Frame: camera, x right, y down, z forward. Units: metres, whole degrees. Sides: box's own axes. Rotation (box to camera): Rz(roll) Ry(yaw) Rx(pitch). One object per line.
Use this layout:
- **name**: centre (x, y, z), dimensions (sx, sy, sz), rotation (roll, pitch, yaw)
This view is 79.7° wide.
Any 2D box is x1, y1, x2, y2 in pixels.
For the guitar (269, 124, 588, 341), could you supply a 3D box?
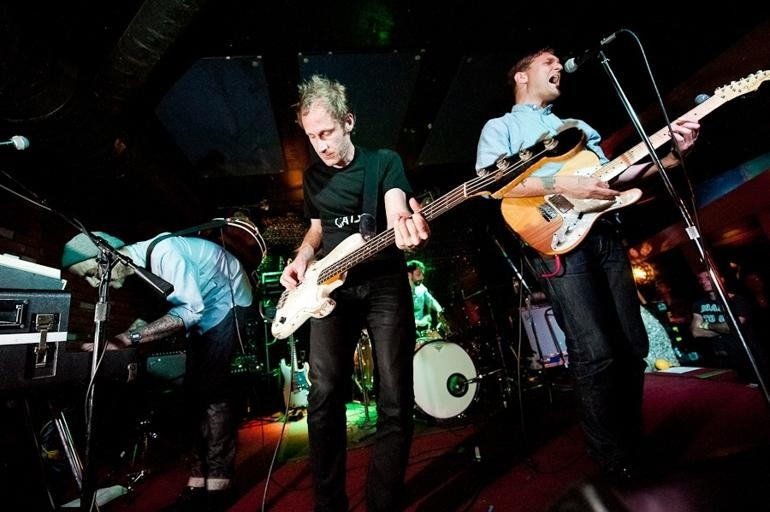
- **guitar**: centre (0.383, -0.263, 4.315), dimensions (2.593, 0.220, 0.750), rotation (-32, -20, 33)

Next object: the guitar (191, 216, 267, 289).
- **guitar**: centre (-1.829, -0.154, 5.665), dimensions (0.180, 0.738, 0.726), rotation (-52, -14, -35)

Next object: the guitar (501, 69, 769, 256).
- **guitar**: centre (3.283, -1.313, 5.867), dimensions (2.914, 0.941, 0.410), rotation (-33, -5, 7)
